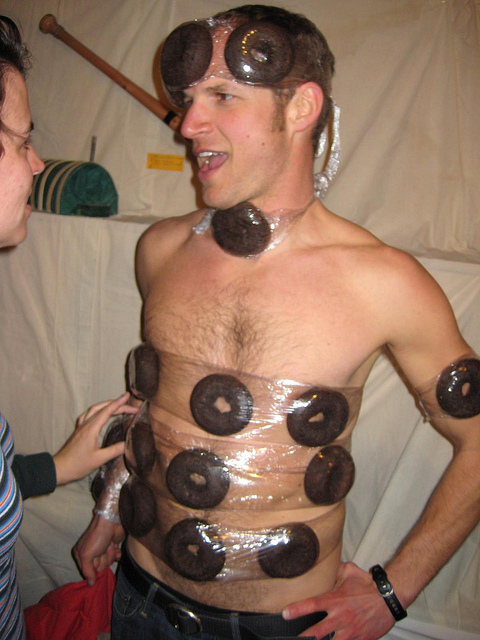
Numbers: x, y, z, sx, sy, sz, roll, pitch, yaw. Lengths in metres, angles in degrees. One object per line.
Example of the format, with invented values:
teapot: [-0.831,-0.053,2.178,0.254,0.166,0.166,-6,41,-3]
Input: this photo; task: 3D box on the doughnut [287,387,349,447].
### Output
doughnut: [0.138,0.179,1.091,0.121,0.101,0.037,-8,15,-23]

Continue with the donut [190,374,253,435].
donut: [-0.036,0.148,1.086,0.123,0.100,0.041,-1,-1,18]

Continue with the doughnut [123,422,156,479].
doughnut: [-0.197,0.257,1.180,0.024,0.104,0.097,8,8,-30]

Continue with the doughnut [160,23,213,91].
doughnut: [-0.113,-0.517,1.176,0.038,0.134,0.143,4,10,-43]

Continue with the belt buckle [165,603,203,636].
belt buckle: [-0.117,0.557,1.138,0.066,0.061,0.019,-3,30,45]

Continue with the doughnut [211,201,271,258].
doughnut: [-0.001,-0.185,1.225,0.132,0.113,0.039,16,9,39]

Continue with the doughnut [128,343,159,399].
doughnut: [-0.196,0.106,1.213,0.031,0.113,0.096,7,9,-31]

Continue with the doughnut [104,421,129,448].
doughnut: [-0.276,0.257,1.388,0.061,0.066,0.073,9,-9,-8]

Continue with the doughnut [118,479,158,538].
doughnut: [-0.202,0.363,1.192,0.051,0.113,0.111,-6,-14,-6]

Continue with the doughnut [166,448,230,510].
doughnut: [-0.074,0.286,1.098,0.122,0.101,0.041,-9,-2,26]

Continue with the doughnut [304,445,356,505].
doughnut: [0.156,0.281,1.137,0.101,0.110,0.034,30,-12,-24]

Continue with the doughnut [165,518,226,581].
doughnut: [-0.095,0.424,1.099,0.131,0.110,0.041,16,-36,-20]
